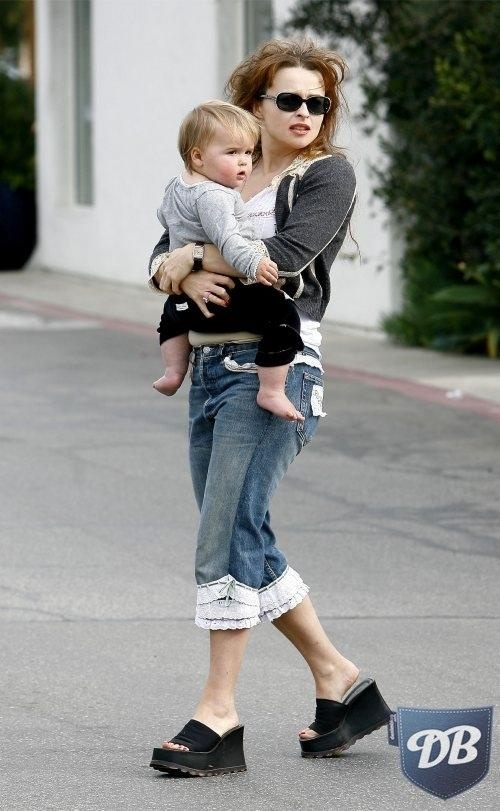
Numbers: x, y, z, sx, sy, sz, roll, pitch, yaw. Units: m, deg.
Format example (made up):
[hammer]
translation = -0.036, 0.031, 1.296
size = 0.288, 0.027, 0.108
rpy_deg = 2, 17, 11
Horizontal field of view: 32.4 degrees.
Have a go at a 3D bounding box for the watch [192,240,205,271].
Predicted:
[watch]
translation = -0.105, -0.301, 1.742
size = 0.031, 0.048, 0.048
rpy_deg = 2, 2, -2

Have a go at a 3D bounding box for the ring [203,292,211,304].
[ring]
translation = -0.087, -0.216, 1.733
size = 0.014, 0.015, 0.016
rpy_deg = 1, -1, 2

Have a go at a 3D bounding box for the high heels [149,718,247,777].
[high heels]
translation = -0.094, 0.719, 1.813
size = 0.239, 0.098, 0.089
rpy_deg = 11, -15, -34
